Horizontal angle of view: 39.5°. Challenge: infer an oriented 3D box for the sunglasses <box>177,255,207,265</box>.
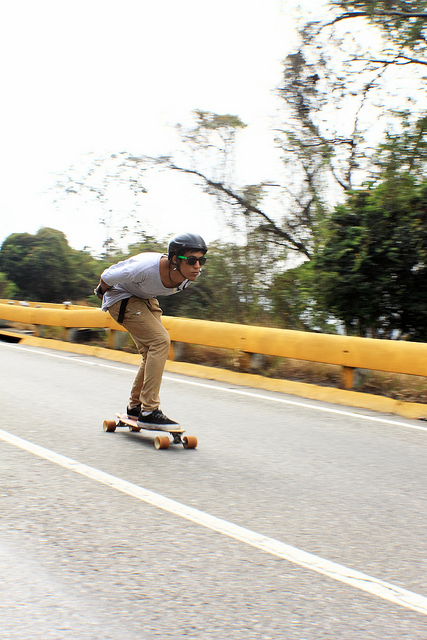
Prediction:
[{"bbox_3d":[-0.152,-0.491,4.867,0.124,0.065,0.273,5,1,38],"label":"sunglasses"}]
